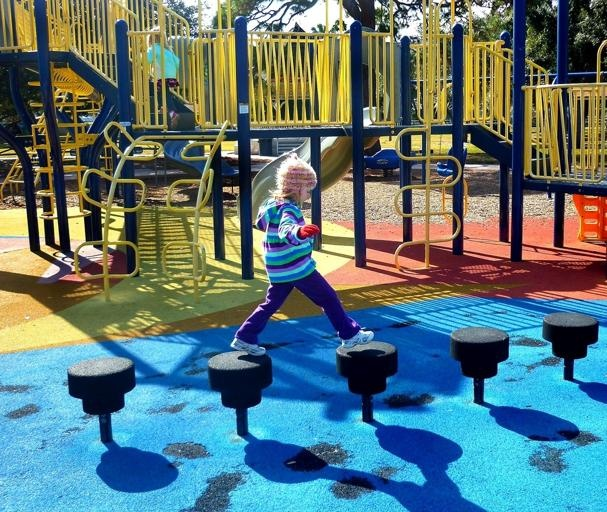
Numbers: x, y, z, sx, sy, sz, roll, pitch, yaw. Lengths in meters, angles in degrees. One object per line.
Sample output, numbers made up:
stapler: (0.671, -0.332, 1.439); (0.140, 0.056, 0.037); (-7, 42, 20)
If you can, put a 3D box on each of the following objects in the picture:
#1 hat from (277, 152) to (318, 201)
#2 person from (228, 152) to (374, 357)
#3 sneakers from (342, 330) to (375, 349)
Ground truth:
hat: (-0.051, -0.579, 4.219); (0.371, 0.310, 0.300); (-2, 19, -1)
person: (-0.017, -0.007, 4.018); (0.804, 1.347, 0.634); (5, 15, 28)
sneakers: (0.400, 0.605, 4.112); (0.295, 0.092, 0.125); (-15, 4, 0)
